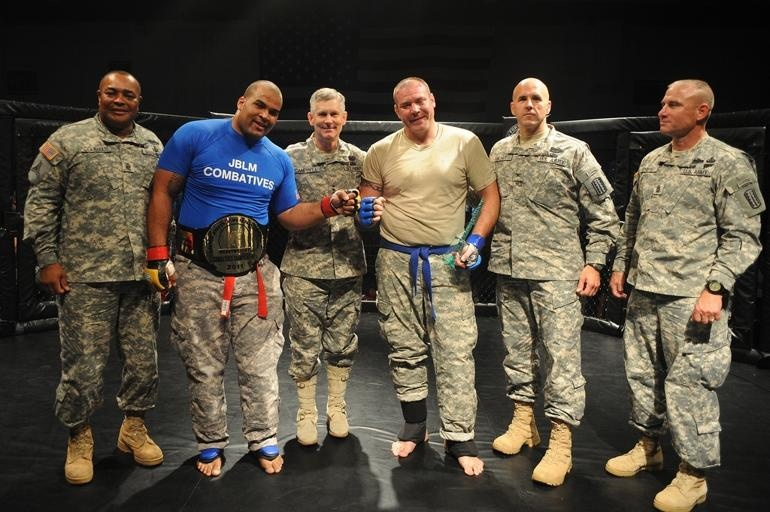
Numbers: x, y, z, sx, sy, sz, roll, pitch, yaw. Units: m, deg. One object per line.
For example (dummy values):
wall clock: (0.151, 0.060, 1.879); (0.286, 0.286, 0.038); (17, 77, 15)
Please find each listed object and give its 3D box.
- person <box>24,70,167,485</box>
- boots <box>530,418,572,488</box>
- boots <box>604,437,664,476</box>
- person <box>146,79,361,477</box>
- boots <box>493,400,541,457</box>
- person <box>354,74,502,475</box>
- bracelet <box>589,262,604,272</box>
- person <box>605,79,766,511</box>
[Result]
person: (-1.911, 0.131, 4.800); (0.866, 2.673, 0.691); (-3, 13, -17)
boots: (1.136, 1.317, 4.821); (0.182, 0.383, 0.258); (8, 14, 29)
boots: (1.687, 1.358, 4.936); (0.477, 0.224, 0.160); (1, 1, -23)
person: (-0.983, 0.146, 4.834); (1.153, 2.595, 0.658); (-3, 13, -15)
boots: (0.927, 1.207, 5.135); (0.460, 0.312, 0.188); (0, 0, -38)
person: (0.287, 0.119, 4.955); (0.980, 2.635, 0.666); (4, 13, 13)
bracelet: (1.435, 0.073, 4.887); (0.093, 0.039, 0.121); (13, -2, -37)
person: (1.929, 0.225, 4.715); (0.811, 2.707, 0.875); (-3, 13, -16)
